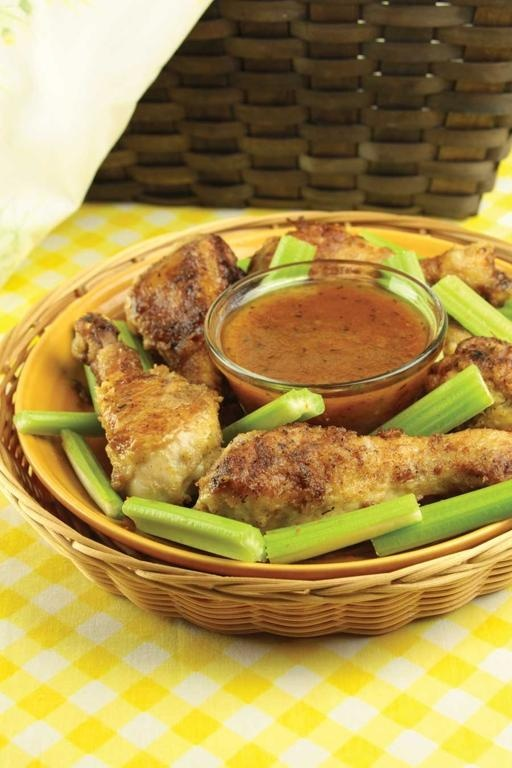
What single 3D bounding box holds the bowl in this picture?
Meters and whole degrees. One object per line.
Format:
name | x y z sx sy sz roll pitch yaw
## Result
bowl | 0.156 -0.051 1.808 0.513 0.208 0.494 -2 40 1
